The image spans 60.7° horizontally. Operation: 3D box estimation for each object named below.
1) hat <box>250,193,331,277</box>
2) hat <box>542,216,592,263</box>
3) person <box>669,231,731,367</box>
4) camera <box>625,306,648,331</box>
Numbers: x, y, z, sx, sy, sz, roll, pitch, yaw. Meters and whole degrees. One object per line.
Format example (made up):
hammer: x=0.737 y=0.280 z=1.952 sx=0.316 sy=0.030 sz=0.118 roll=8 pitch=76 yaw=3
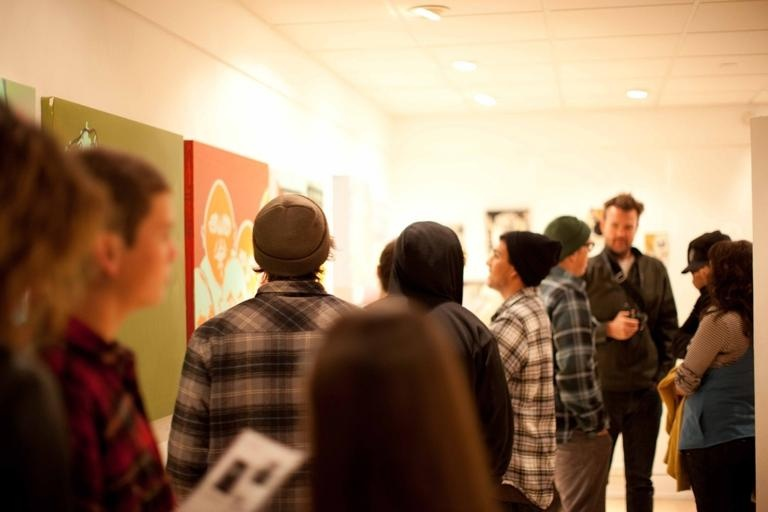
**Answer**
hat: x=-0.346 y=-0.065 z=2.422 sx=0.268 sy=0.305 sz=0.197 roll=-6 pitch=-8 yaw=-5
hat: x=1.109 y=-0.135 z=3.976 sx=0.294 sy=0.305 sz=0.110 roll=-27 pitch=-53 yaw=35
person: x=2.331 y=0.458 z=4.756 sx=0.343 sy=1.173 sz=0.343 roll=-12 pitch=13 yaw=24
camera: x=1.858 y=0.460 z=4.851 sx=0.133 sy=0.191 sz=0.066 roll=-10 pitch=-10 yaw=-8
